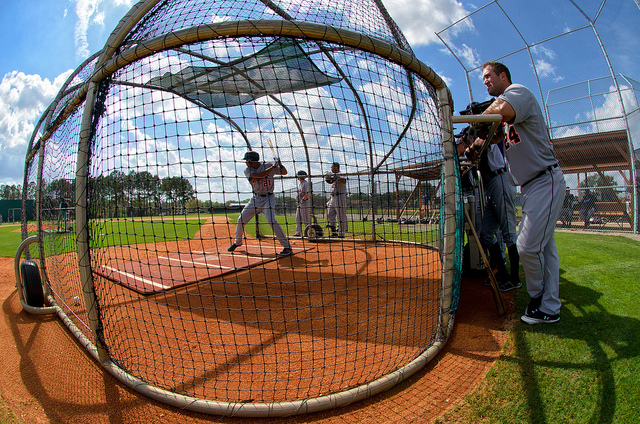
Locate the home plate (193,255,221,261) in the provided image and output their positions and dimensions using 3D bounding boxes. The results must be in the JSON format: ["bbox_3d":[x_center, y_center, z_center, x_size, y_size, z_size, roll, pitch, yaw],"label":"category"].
[{"bbox_3d":[-2.350,0.947,8.338,0.462,0.095,0.676,-3,-1,-21],"label":"home plate"}]

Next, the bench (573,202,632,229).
[{"bbox_3d":[9.050,0.096,12.902,1.466,0.858,1.097,-3,-1,35],"label":"bench"}]

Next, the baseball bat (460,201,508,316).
[{"bbox_3d":[2.521,0.678,6.125,0.175,1.661,0.112,-9,-21,-5],"label":"baseball bat"}]

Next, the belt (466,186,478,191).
[{"bbox_3d":[2.553,-0.385,6.696,0.205,0.072,0.089,-2,0,-26],"label":"belt"}]

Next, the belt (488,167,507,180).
[{"bbox_3d":[2.812,-0.601,6.295,0.269,0.175,0.097,-3,0,1],"label":"belt"}]
